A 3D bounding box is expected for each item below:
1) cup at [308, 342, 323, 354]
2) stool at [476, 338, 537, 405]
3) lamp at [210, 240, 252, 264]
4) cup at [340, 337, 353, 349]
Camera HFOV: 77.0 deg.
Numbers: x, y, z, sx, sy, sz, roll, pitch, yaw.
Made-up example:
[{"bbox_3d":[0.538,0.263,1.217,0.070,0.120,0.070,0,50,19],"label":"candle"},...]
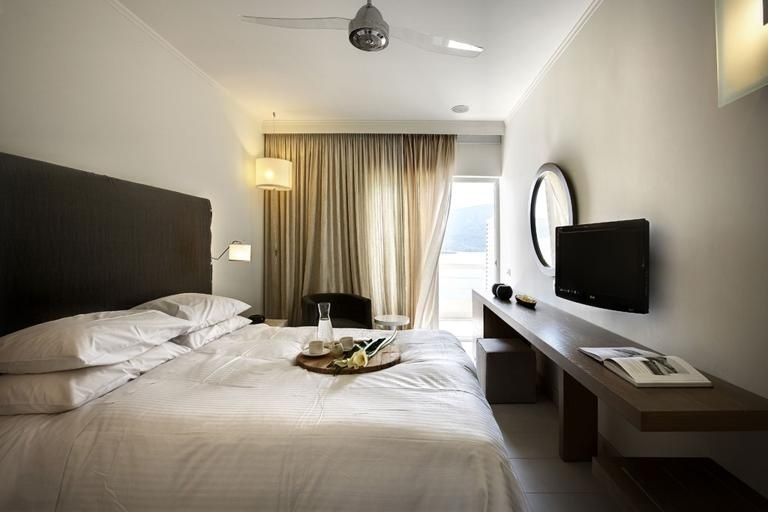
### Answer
[{"bbox_3d":[-0.437,0.590,3.107,0.076,0.059,0.079,1,3,0],"label":"cup"},{"bbox_3d":[1.046,0.973,4.167,0.402,0.495,0.762,0,0,0],"label":"stool"},{"bbox_3d":[-1.435,-0.050,4.539,0.355,0.184,0.157,-3,-2,16],"label":"lamp"},{"bbox_3d":[-0.248,0.586,3.222,0.071,0.053,0.071,1,-4,0],"label":"cup"}]
